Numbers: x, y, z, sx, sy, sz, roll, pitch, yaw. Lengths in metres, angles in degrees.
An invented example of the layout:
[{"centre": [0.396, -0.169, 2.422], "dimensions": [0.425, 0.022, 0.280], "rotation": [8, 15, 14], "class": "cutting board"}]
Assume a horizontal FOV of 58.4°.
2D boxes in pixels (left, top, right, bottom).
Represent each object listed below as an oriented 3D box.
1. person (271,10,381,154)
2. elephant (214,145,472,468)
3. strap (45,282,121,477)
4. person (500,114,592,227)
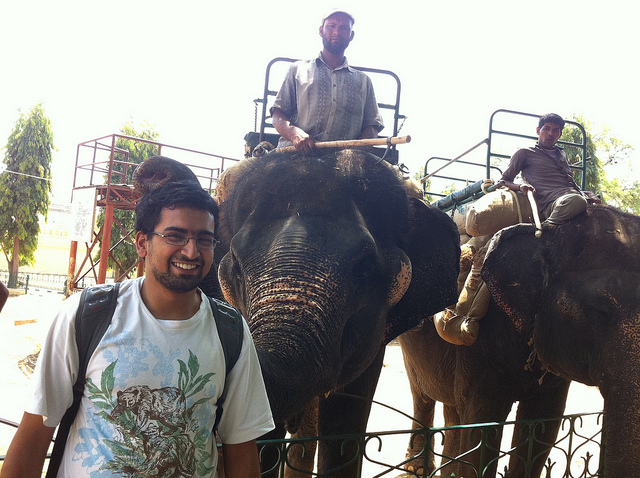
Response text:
[{"centre": [0.069, -0.926, 3.548], "dimensions": [0.718, 0.955, 0.396], "rotation": [5, -8, -8], "class": "person"}, {"centre": [0.138, 0.322, 3.497], "dimensions": [1.086, 1.425, 2.242], "rotation": [-1, -17, 9], "class": "elephant"}, {"centre": [-0.806, 0.489, 2.029], "dimensions": [0.135, 0.624, 0.311], "rotation": [7, 1, -40], "class": "strap"}, {"centre": [1.732, -0.496, 4.383], "dimensions": [0.590, 1.035, 0.733], "rotation": [-5, -8, 29], "class": "person"}]
